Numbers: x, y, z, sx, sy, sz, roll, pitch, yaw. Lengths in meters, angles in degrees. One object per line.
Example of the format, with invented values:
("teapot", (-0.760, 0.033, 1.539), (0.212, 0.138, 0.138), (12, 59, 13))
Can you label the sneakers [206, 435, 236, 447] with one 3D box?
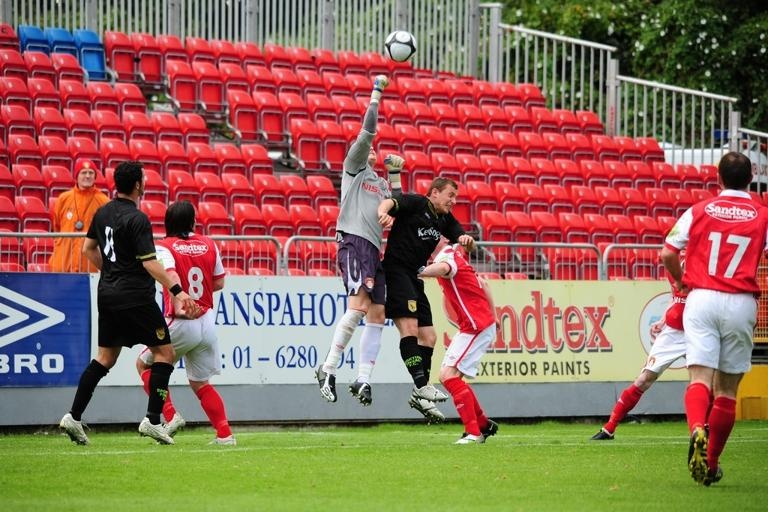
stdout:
("sneakers", (-2.206, 2.495, 18.523), (0.370, 0.171, 0.138), (1, -3, 8))

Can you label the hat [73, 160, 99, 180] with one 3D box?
("hat", (-4.589, -1.419, 21.077), (0.367, 0.280, 0.367), (1, -10, -23))

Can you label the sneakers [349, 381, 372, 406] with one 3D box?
("sneakers", (-0.329, 1.900, 18.927), (0.271, 0.356, 0.286), (1, 7, 4))

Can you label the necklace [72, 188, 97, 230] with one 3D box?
("necklace", (-4.598, -0.749, 20.966), (0.364, 0.616, 0.178), (4, -12, -7))

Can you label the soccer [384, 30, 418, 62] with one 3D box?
("soccer", (0.250, -3.605, 23.220), (0.600, 0.623, 0.611), (-1, -10, -6))

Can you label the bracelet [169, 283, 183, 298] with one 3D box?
("bracelet", (-2.740, 0.433, 18.052), (0.159, 0.132, 0.162), (11, 31, 44))

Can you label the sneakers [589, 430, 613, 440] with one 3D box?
("sneakers", (3.102, 2.565, 19.631), (0.318, 0.140, 0.136), (2, -2, -3))
